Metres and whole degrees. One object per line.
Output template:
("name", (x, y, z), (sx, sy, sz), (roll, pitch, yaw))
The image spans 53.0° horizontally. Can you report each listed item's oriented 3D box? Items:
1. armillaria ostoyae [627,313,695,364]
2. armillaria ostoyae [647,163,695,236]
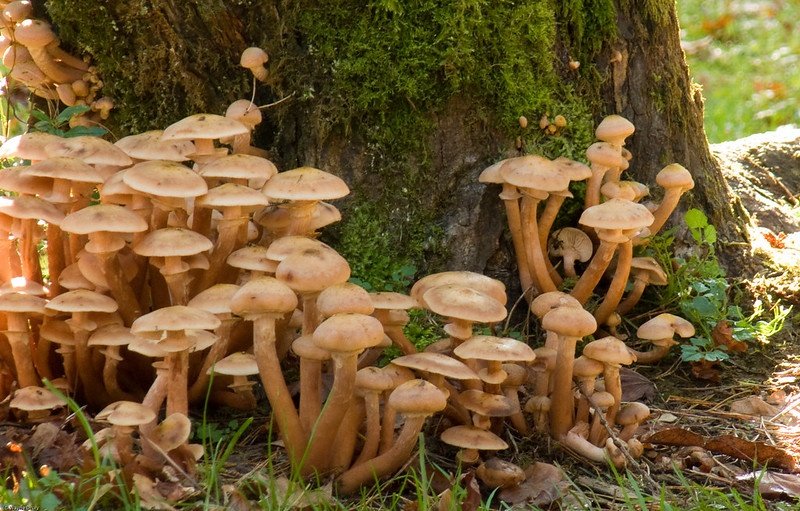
("armillaria ostoyae", (2.354, 0.758, 7.148), (0.507, 0.325, 0.503), (-34, 28, -31))
("armillaria ostoyae", (2.571, -0.537, 7.681), (0.327, 0.712, 0.347), (8, 47, 12))
